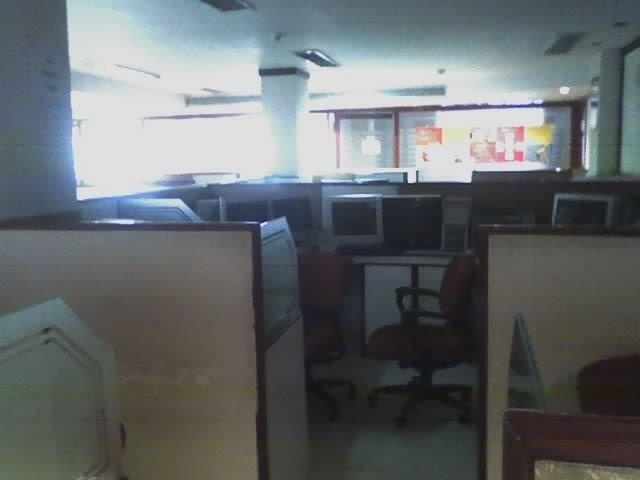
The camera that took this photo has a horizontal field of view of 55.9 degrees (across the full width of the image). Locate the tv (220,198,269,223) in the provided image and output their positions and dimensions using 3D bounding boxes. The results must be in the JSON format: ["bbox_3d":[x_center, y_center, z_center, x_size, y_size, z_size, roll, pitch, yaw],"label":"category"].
[{"bbox_3d":[-0.241,-0.100,1.994,0.150,0.075,0.061,3,13,-26],"label":"tv"}]

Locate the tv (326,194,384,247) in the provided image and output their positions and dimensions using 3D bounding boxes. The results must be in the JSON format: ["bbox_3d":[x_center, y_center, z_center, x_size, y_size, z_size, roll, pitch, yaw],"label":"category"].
[{"bbox_3d":[0.125,-0.060,2.173,0.244,0.226,0.167,0,0,2],"label":"tv"}]

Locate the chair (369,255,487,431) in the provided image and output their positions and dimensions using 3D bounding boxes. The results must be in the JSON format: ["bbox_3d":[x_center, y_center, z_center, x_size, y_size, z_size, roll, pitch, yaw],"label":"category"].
[{"bbox_3d":[0.405,0.358,2.490,0.562,0.886,0.554,1,1,6],"label":"chair"}]

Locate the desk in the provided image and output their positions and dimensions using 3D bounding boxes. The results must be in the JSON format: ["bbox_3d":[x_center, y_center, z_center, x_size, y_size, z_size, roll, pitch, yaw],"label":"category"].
[{"bbox_3d":[0.408,0.303,2.521,0.478,0.448,0.316,0,11,-10],"label":"desk"}]
